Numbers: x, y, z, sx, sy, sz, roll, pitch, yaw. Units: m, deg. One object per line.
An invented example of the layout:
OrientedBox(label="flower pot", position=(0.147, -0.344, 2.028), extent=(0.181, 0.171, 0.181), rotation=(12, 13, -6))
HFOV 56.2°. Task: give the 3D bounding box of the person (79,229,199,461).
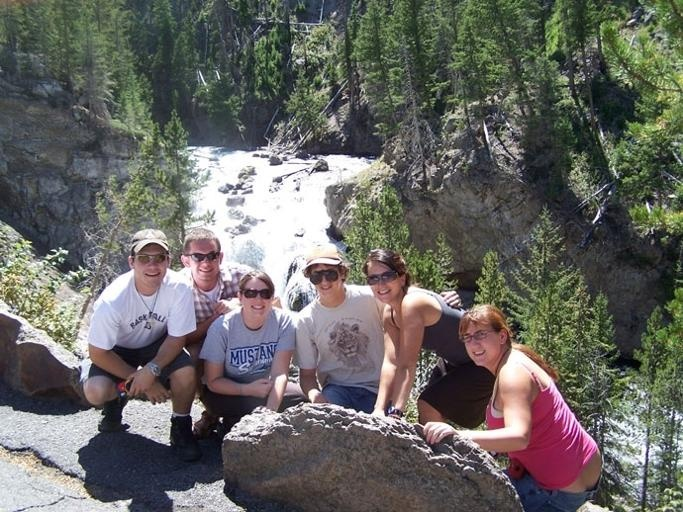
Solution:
OrientedBox(label="person", position=(-2.543, 1.100, 8.128), extent=(1.346, 2.667, 0.950), rotation=(-2, 15, -5))

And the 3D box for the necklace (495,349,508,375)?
OrientedBox(label="necklace", position=(1.739, 1.174, 7.008), extent=(0.054, 0.248, 0.177), rotation=(21, -11, -7))

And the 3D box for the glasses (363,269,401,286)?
OrientedBox(label="glasses", position=(0.504, 0.273, 7.956), extent=(0.398, 0.209, 0.073), rotation=(0, 15, 3))

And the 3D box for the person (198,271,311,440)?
OrientedBox(label="person", position=(-1.198, 1.315, 8.170), extent=(1.339, 2.167, 0.689), rotation=(-2, 15, -4))

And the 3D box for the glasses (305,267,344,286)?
OrientedBox(label="glasses", position=(-0.212, 0.265, 8.155), extent=(0.451, 0.226, 0.120), rotation=(0, 15, 3))
